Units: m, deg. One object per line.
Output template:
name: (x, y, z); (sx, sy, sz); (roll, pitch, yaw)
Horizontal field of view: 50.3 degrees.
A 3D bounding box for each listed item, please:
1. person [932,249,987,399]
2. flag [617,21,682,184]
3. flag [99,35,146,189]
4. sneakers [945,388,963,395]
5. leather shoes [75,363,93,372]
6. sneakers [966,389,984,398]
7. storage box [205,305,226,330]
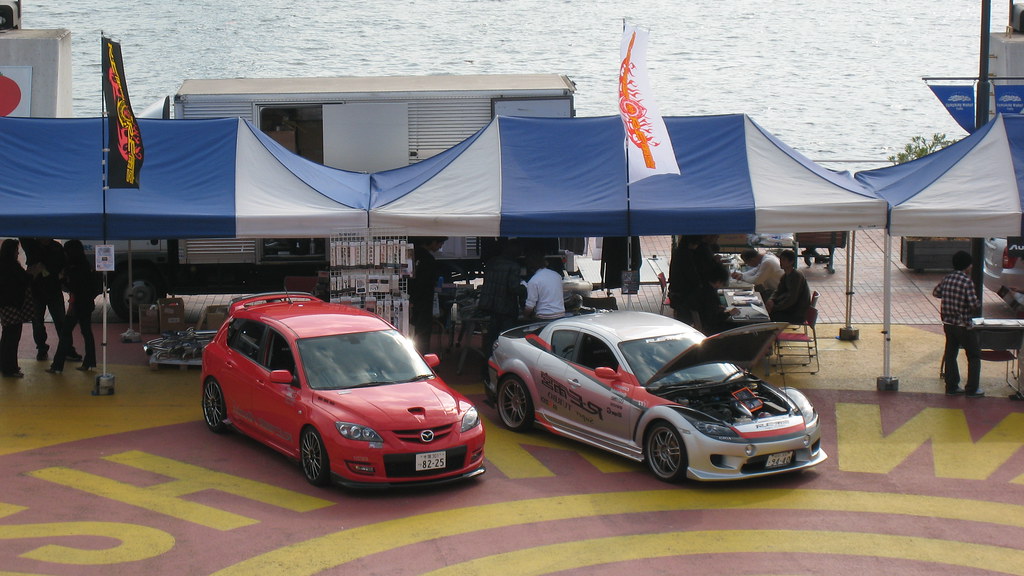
person: (9.931, 0.804, 24.267); (0.968, 3.188, 0.554); (-1, 4, 10)
flag: (2.971, -4.042, 24.268); (1.195, 3.479, 0.904); (-1, 4, 4)
flag: (-8.730, -3.813, 23.920); (0.550, 3.297, 1.478); (-2, 4, 4)
sneakers: (9.906, 2.317, 24.438); (0.424, 0.173, 0.139); (-5, 19, -10)
leather shoes: (-10.139, 1.898, 25.696); (0.433, 0.167, 0.135); (11, 19, 29)
sneakers: (10.364, 2.346, 24.311); (0.462, 0.187, 0.163); (-7, 18, -17)
storage box: (-7.451, 0.733, 27.412); (0.572, 0.559, 0.347); (0, -5, -11)
